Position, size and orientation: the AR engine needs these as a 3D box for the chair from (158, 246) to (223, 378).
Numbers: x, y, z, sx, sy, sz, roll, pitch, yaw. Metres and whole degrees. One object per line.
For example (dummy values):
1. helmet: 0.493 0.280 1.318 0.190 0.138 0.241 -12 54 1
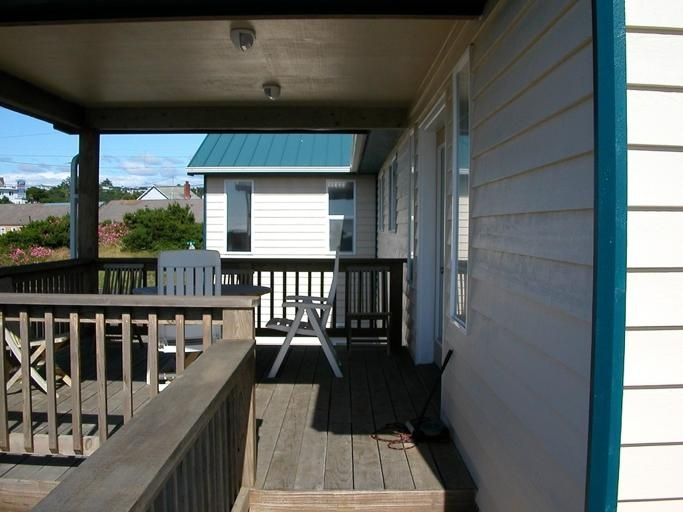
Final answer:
1. chair: -1.133 0.393 4.087 0.472 0.877 0.878 -2 5 -20

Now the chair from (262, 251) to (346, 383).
1. chair: -0.365 0.501 5.417 0.723 1.130 1.372 0 5 -2
